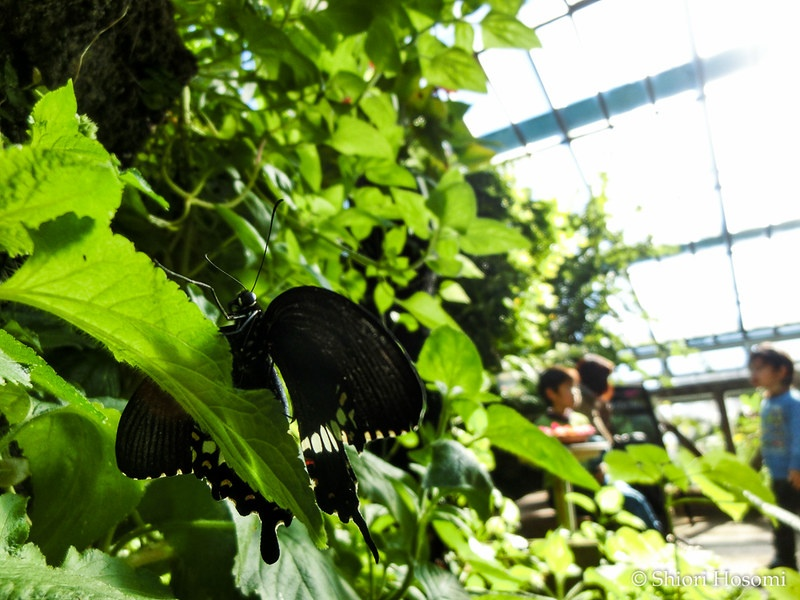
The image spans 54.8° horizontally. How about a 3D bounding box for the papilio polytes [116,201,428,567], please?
[{"bbox_3d":[-0.190,0.168,1.650,0.546,0.523,0.621,7,-7,-11],"label":"papilio polytes"}]
